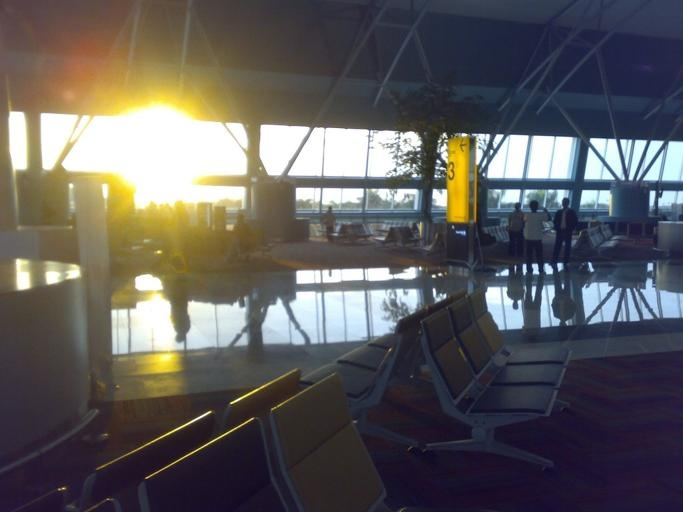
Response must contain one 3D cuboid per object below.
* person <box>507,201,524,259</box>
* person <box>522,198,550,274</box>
[{"bbox_3d":[5.159,-0.762,15.695,0.415,1.558,1.583,-1,3,18],"label":"person"},{"bbox_3d":[4.613,-0.465,12.710,0.409,1.699,1.475,-1,3,20],"label":"person"}]
